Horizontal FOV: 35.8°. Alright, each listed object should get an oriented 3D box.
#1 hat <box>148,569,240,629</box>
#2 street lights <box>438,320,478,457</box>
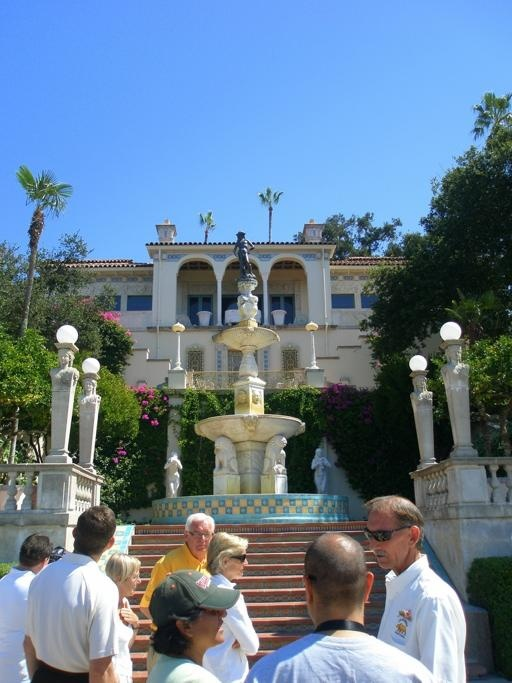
[{"bbox_3d":[-0.255,0.989,3.089,0.366,0.187,0.244,-11,-10,-4],"label":"hat"},{"bbox_3d":[2.524,0.562,10.043,0.371,1.812,0.963,-3,-11,13],"label":"street lights"}]
